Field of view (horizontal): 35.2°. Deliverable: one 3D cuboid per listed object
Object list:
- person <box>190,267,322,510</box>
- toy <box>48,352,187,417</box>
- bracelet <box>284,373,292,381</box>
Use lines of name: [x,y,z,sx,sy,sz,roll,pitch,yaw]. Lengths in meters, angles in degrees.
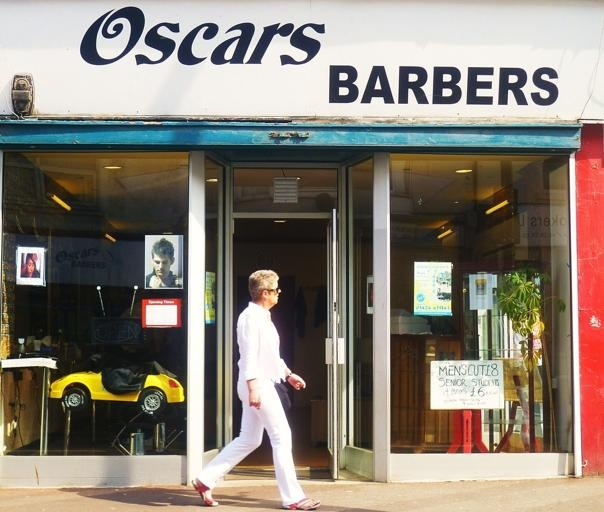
person: [-0.402,1.276,9.131,1.078,2.273,0.597,-1,-7,2]
toy: [-1.990,1.392,10.131,1.157,0.489,0.680,4,-11,-1]
bracelet: [-0.138,1.166,9.250,0.031,0.028,0.112,9,-30,-10]
